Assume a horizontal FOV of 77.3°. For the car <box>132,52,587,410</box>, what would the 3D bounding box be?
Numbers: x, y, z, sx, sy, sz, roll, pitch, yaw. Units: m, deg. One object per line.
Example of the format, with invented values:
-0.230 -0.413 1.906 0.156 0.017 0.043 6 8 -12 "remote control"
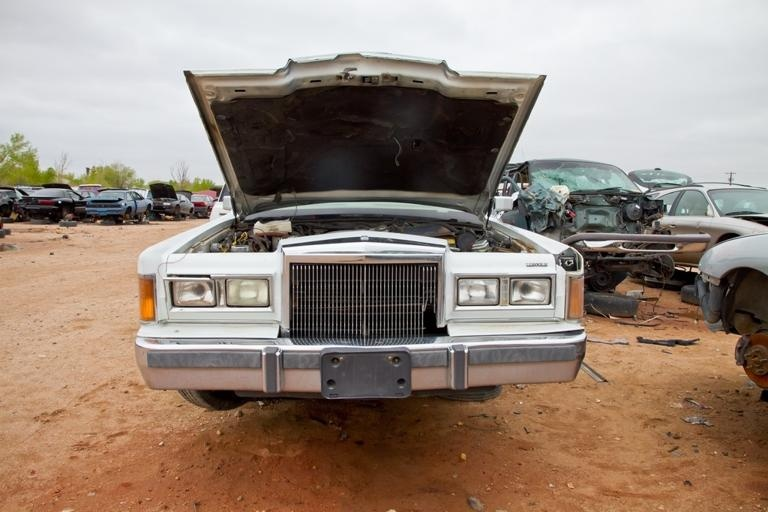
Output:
-0.306 -0.717 5.835 3.920 2.022 5.000 0 19 0 "car"
